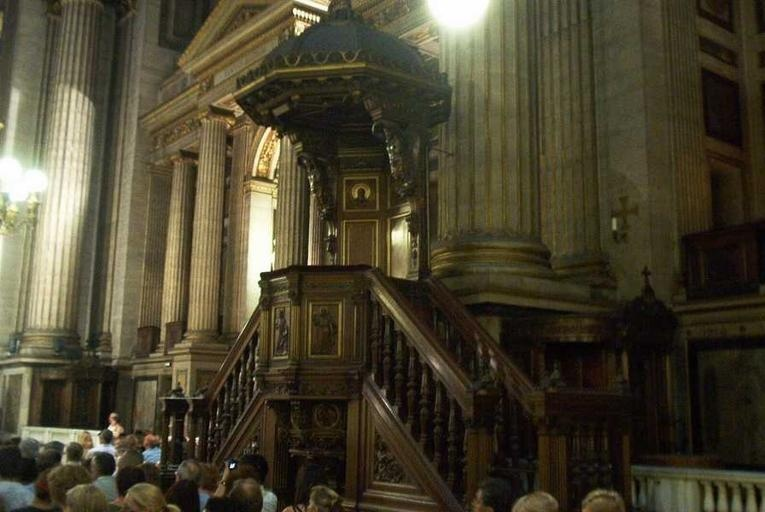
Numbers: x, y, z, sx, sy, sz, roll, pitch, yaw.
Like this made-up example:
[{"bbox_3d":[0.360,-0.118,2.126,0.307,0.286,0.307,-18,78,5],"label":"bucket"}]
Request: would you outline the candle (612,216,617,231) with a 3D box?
[{"bbox_3d":[3.823,-0.522,13.471,0.107,0.234,0.020,-7,-18,28],"label":"candle"}]
